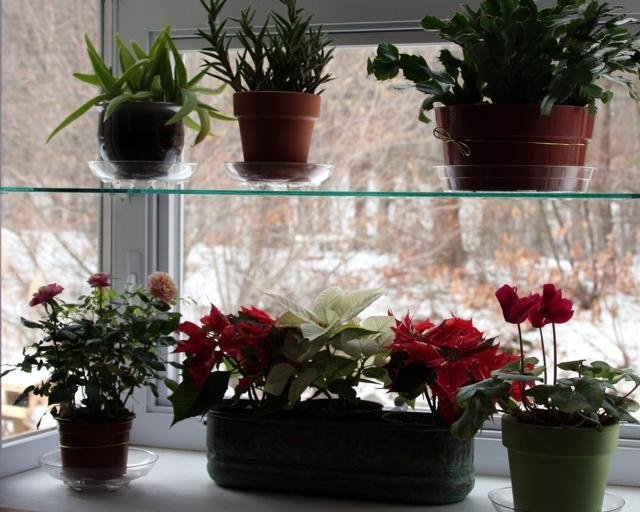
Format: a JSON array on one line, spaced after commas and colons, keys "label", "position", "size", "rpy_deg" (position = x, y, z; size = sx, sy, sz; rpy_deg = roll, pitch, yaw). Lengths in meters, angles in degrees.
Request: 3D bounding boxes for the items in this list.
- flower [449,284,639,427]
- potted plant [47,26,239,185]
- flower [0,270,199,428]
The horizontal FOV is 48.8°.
[{"label": "flower", "position": [0.375, 0.143, 1.241], "size": [0.311, 0.234, 0.288], "rpy_deg": [-3, 1, -31]}, {"label": "potted plant", "position": [-0.342, -0.290, 1.432], "size": [0.291, 0.263, 0.329], "rpy_deg": [5, 13, 25]}, {"label": "flower", "position": [-0.468, 0.172, 1.469], "size": [0.385, 0.289, 0.375], "rpy_deg": [-2, -2, 30]}]
